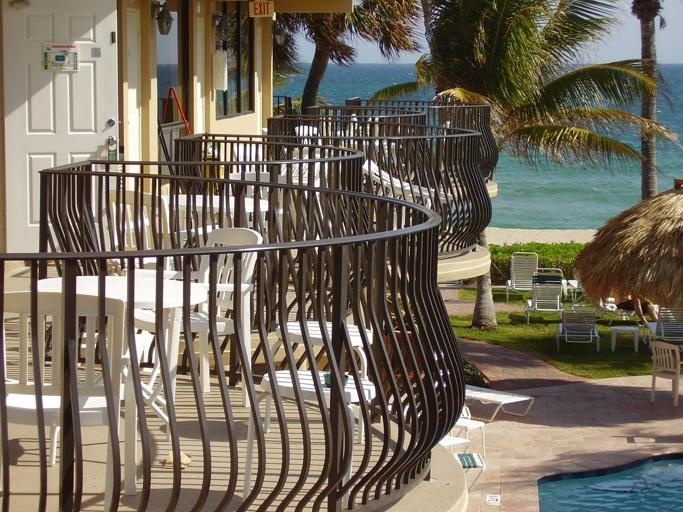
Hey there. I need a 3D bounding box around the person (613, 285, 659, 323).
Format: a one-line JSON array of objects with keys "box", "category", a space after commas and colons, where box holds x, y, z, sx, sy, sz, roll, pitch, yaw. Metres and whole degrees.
[{"box": [5.173, 0.826, 19.714, 0.820, 0.451, 0.964, -3, 5, -16], "category": "person"}]

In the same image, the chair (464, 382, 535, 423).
[{"box": [2.384, 2.152, 16.943, 0.966, 0.526, 1.536, 3, 9, 11], "category": "chair"}]

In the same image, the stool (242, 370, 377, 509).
[{"box": [-0.259, 1.339, 9.208, 0.906, 0.881, 1.064, 3, 1, 7], "category": "stool"}]
